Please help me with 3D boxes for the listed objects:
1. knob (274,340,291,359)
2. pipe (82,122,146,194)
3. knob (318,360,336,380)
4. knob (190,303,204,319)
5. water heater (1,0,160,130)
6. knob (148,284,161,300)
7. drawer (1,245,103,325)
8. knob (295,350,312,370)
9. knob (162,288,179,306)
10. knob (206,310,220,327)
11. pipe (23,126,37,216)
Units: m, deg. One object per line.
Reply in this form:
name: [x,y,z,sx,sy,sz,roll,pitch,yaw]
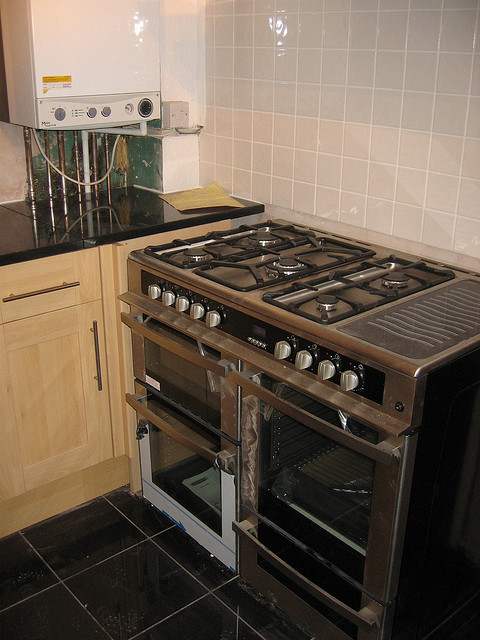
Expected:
knob: [0.092,0.062,1.117,0.023,0.041,0.031,-9,22,-32]
pipe: [-0.501,-0.672,2.141,0.288,0.035,0.382,-1,64,-18]
knob: [0.170,0.100,1.030,0.027,0.043,0.032,-13,24,-30]
knob: [-0.109,-0.025,1.348,0.021,0.038,0.029,-17,32,-36]
water heater: [-0.538,-0.853,1.725,0.400,0.364,0.206,-21,41,-32]
knob: [-0.243,-0.084,1.506,0.030,0.040,0.022,28,39,36]
drawer: [-0.569,-0.148,1.565,0.308,0.145,0.223,-17,25,-36]
knob: [0.131,0.080,1.069,0.022,0.038,0.029,-17,30,-34]
knob: [-0.192,-0.063,1.438,0.037,0.049,0.051,6,14,14]
knob: [-0.066,-0.005,1.304,0.025,0.045,0.035,-9,14,-41]
pipe: [-0.823,-0.622,2.052,0.029,0.295,0.031,-12,-10,37]
